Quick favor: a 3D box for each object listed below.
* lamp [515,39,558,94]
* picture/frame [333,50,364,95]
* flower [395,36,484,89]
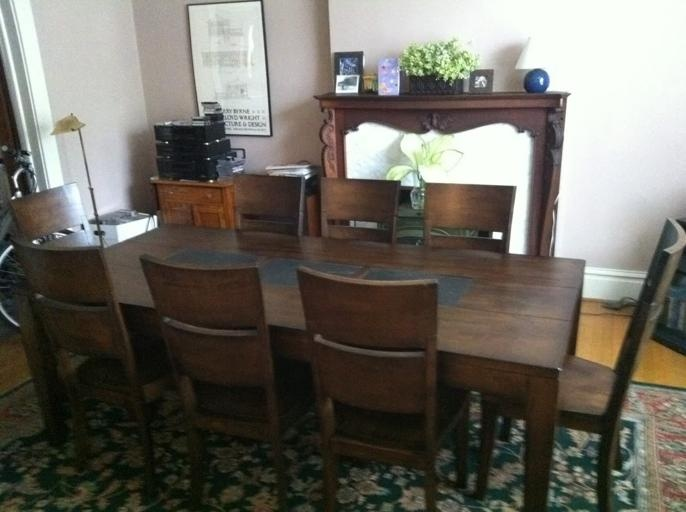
[{"bbox_3d":[1.324,-1.313,3.724,0.281,0.374,0.334,5,21,14],"label":"lamp"},{"bbox_3d":[0.030,-1.380,4.125,0.231,0.300,0.134,3,22,8],"label":"picture/frame"},{"bbox_3d":[0.669,-1.408,3.942,0.516,0.284,0.533,-6,24,-19],"label":"flower"}]
